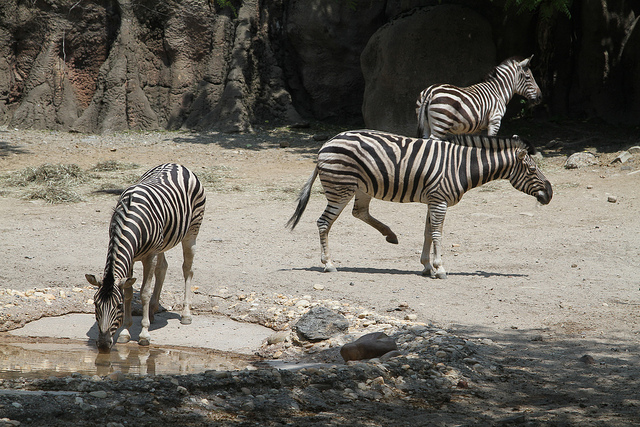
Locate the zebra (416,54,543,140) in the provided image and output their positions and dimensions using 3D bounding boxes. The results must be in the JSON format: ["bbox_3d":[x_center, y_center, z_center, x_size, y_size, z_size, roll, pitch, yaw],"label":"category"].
[{"bbox_3d":[3.109,-2.039,17.808,3.203,1.826,0.877,-11,17,-29],"label":"zebra"}]

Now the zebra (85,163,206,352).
[{"bbox_3d":[-2.469,0.580,12.878,1.093,2.473,1.910,7,7,16],"label":"zebra"}]
